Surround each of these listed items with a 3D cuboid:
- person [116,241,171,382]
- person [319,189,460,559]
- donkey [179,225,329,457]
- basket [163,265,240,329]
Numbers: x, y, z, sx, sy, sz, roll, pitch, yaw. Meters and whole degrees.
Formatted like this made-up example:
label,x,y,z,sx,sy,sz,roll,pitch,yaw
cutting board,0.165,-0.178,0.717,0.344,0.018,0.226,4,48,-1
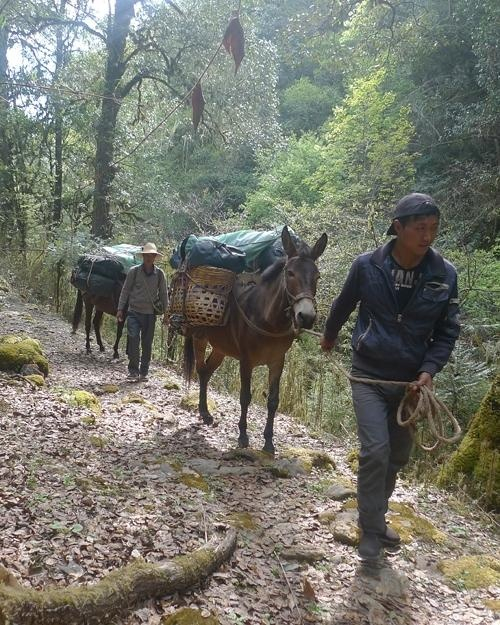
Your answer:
label,x,y,z,sx,sy,sz,roll,pitch,yaw
person,-1.582,0.010,8.586,0.677,1.941,0.542,1,5,-33
person,0.925,0.365,3.994,0.961,2.180,0.959,6,11,0
donkey,-0.073,0.278,6.202,0.883,2.450,2.624,8,9,-15
basket,-0.526,-0.211,6.574,0.751,0.681,0.524,-6,12,-30
